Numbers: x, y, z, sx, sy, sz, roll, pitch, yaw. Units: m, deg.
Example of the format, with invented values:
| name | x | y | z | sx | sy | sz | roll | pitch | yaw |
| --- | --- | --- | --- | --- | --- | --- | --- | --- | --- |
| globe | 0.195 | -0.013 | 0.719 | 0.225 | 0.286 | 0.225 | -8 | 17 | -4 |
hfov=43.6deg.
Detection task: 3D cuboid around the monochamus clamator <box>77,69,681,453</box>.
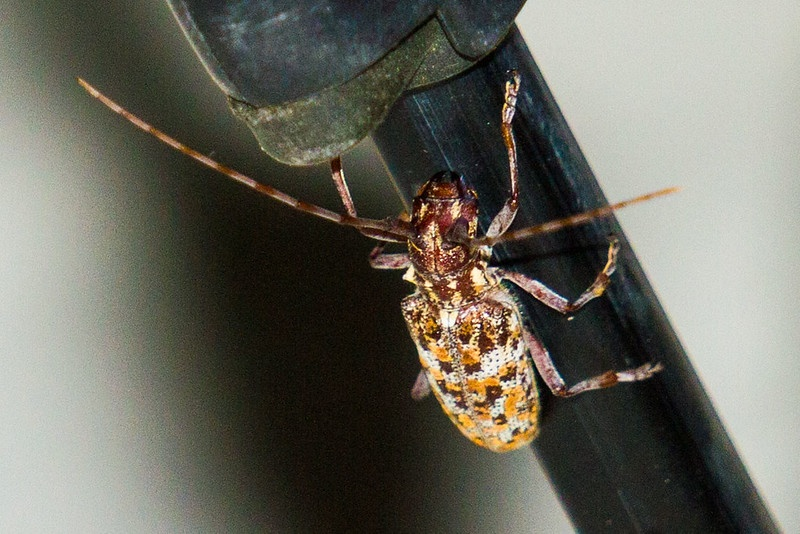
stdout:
| name | x | y | z | sx | sy | sz | roll | pitch | yaw |
| --- | --- | --- | --- | --- | --- | --- | --- | --- | --- |
| monochamus clamator | 0.159 | 0.304 | 4.400 | 2.362 | 1.272 | 1.583 | -7 | -64 | -5 |
